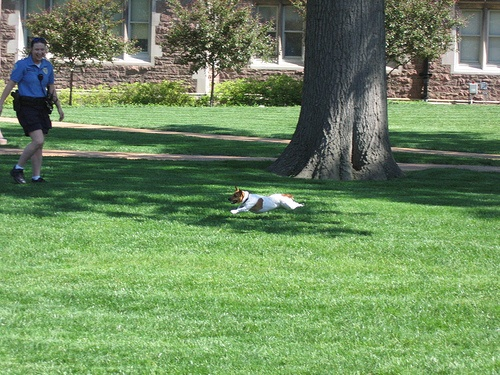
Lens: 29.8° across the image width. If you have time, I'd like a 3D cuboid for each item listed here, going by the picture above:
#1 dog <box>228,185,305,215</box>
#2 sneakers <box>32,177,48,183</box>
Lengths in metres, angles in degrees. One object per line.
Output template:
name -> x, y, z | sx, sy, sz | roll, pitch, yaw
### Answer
dog -> 0.198, 0.138, 13.431 | 1.070, 0.355, 0.378 | 1, -1, -10
sneakers -> -3.311, -0.137, 14.725 | 0.220, 0.079, 0.074 | 1, 21, -19
